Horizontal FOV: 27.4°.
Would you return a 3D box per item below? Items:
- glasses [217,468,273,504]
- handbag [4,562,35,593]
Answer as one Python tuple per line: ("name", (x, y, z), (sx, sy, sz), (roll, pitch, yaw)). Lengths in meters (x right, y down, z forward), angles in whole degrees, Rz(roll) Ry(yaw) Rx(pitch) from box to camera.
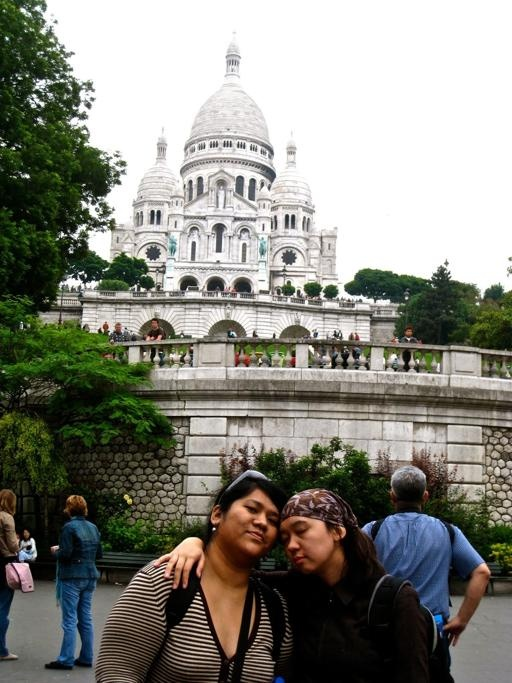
("glasses", (-0.069, 0.626, 4.584), (0.155, 0.177, 0.056), (28, -6, -7))
("handbag", (-1.966, 1.952, 8.705), (0.238, 0.259, 0.275), (6, 4, -12))
